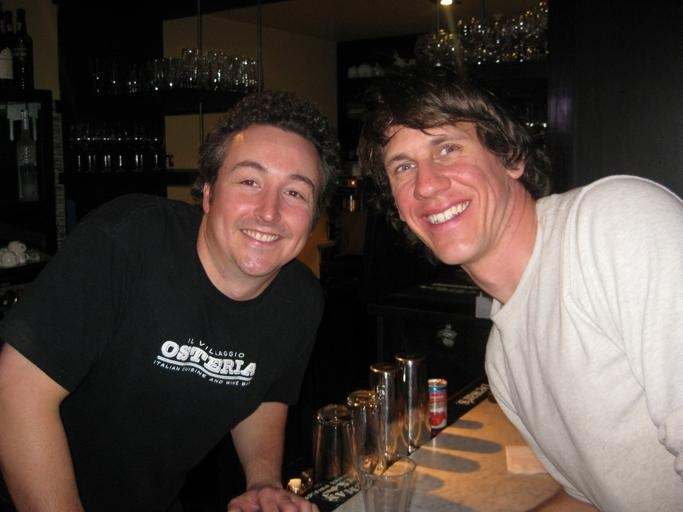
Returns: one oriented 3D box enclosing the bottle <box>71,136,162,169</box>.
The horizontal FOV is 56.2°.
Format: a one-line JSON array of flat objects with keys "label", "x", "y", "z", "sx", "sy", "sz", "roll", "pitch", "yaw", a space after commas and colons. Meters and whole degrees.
[{"label": "bottle", "x": -2.001, "y": -0.908, "z": 5.692, "sx": 0.846, "sy": 0.275, "sz": 0.292, "roll": 0, "pitch": 7, "yaw": -1}]
